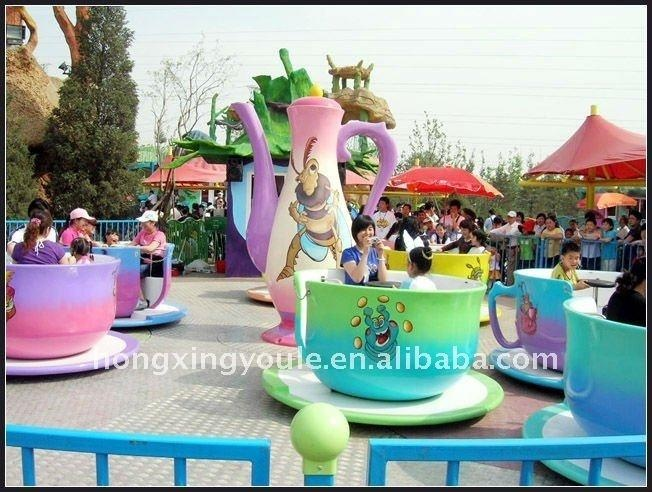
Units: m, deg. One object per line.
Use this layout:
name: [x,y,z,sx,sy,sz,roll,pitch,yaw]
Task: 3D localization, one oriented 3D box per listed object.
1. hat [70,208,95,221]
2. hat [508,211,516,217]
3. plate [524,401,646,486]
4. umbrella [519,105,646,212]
hat: [-3.379,-0.429,7.065,0.391,0.215,0.256,2,5,-32]
hat: [4.073,-0.714,11.341,0.141,0.117,0.226,0,-7,35]
plate: [1.572,1.262,3.154,0.589,0.069,0.619,0,10,6]
umbrella: [4.864,-1.579,9.451,1.637,1.813,2.244,6,5,33]
